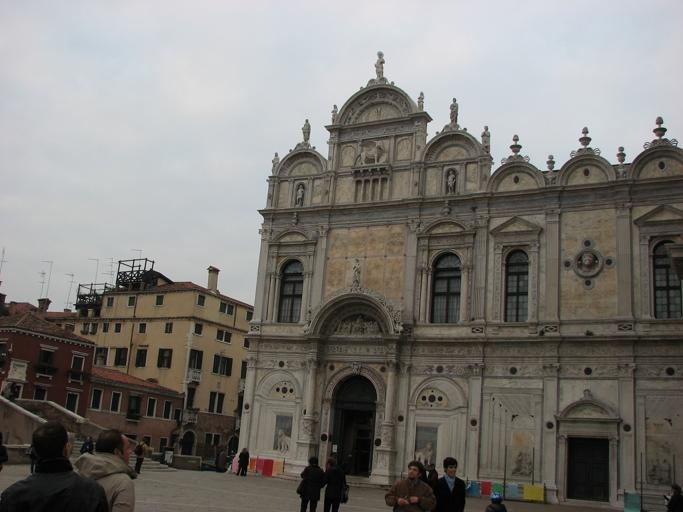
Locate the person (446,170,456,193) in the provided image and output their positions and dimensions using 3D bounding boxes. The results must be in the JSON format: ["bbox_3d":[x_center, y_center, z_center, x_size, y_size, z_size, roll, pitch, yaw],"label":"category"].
[{"bbox_3d":[5.873,-4.041,36.118,0.586,1.301,0.236,2,-19,10],"label":"person"}]

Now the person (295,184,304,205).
[{"bbox_3d":[-2.480,-3.666,39.908,0.635,1.351,0.183,-13,-26,43],"label":"person"}]
